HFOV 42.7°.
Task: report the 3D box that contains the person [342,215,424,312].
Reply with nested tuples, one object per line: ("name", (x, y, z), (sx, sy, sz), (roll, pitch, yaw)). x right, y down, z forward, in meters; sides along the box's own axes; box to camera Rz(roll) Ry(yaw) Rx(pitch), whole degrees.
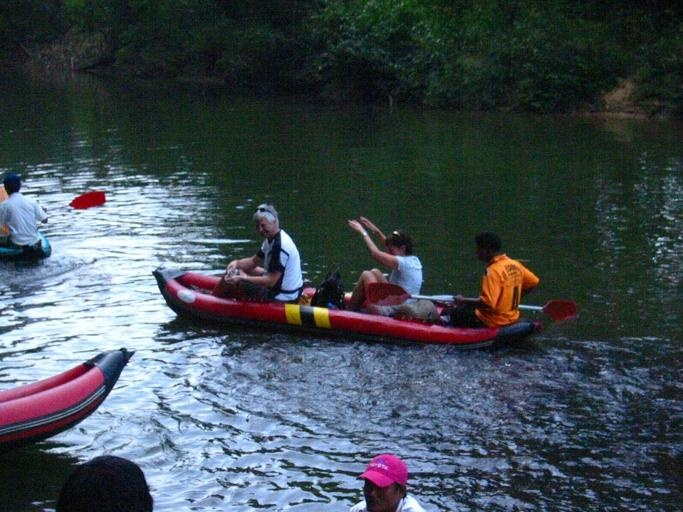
("person", (0.536, 0.294, 12.211), (1.232, 1.439, 0.901), (10, 11, 1))

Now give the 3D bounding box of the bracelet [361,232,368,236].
("bracelet", (0.314, -0.308, 12.026), (0.075, 0.044, 0.072), (18, -14, -41))

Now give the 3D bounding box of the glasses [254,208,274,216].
("glasses", (-1.048, -0.602, 11.885), (0.245, 0.109, 0.089), (-3, 10, -7))

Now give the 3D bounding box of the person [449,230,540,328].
("person", (1.997, 0.308, 11.604), (1.138, 1.275, 0.537), (-1, 11, 8))

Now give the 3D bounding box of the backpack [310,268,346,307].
("backpack", (-0.168, 0.460, 12.469), (0.670, 0.534, 0.322), (-7, 34, -2))
